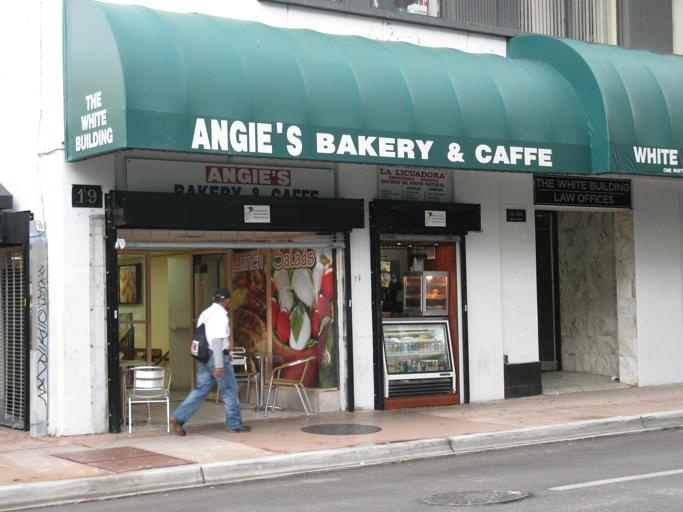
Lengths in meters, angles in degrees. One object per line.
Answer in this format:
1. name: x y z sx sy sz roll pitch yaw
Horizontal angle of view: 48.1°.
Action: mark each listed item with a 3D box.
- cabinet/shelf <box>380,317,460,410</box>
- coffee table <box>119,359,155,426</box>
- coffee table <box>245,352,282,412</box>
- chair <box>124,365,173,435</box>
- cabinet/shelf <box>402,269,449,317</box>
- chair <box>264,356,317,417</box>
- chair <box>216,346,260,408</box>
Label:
1. cabinet/shelf: 1.404 2.064 14.408 1.375 1.487 0.683 2 -9 -24
2. coffee table: -3.596 2.313 12.842 0.678 1.016 0.660 -2 2 -40
3. coffee table: -1.517 2.369 14.503 0.763 1.009 0.845 1 -4 -6
4. chair: -3.171 2.152 12.514 0.833 1.258 0.803 3 3 -44
5. cabinet/shelf: 1.690 0.724 15.077 0.946 1.081 0.736 1 -4 -23
6. chair: -0.915 2.309 14.187 0.772 1.139 0.822 2 2 -36
7. chair: -1.935 2.214 14.654 0.716 1.487 0.725 3 -7 -29
